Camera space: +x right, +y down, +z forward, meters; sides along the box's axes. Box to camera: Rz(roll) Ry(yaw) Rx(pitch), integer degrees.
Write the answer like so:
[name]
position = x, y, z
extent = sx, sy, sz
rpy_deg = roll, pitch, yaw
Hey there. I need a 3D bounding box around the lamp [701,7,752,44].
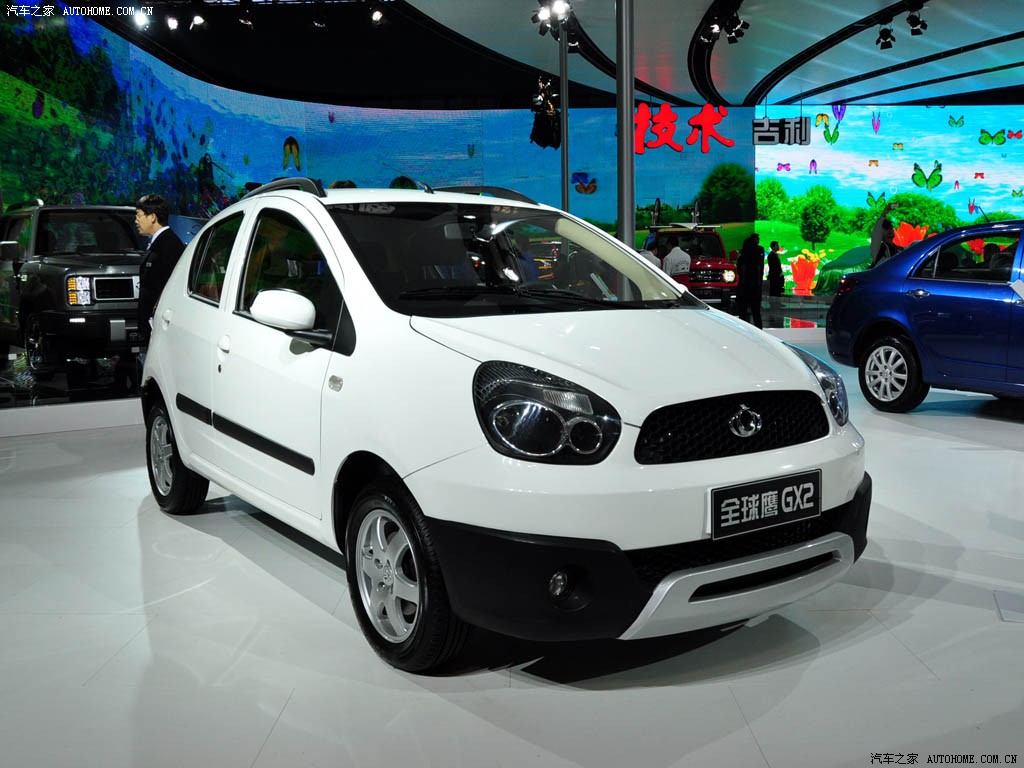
[lamp]
position = 4.035, -6.743, 11.193
extent = 0.744, 0.311, 0.813
rpy_deg = -3, 23, 25
